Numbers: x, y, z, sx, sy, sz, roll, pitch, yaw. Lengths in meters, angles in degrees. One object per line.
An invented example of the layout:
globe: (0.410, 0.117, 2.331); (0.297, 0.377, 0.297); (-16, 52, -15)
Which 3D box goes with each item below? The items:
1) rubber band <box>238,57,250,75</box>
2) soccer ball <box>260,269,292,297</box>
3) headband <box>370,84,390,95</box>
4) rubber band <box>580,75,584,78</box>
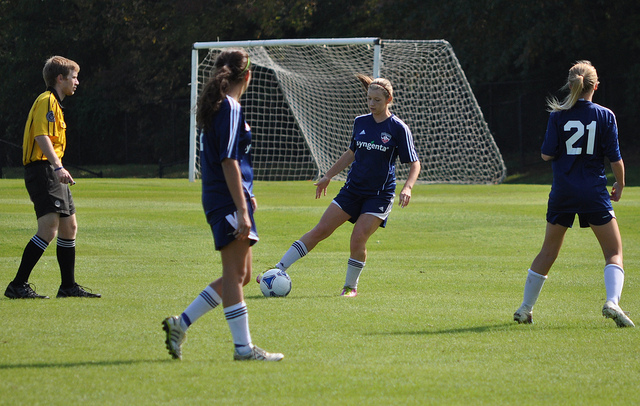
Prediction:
rubber band: (-0.944, -1.724, 11.867); (0.098, 0.188, 0.275); (4, 13, 15)
soccer ball: (-0.644, 1.186, 13.825); (0.412, 0.392, 0.390); (4, -39, 3)
headband: (0.896, -1.699, 13.967); (0.243, 0.122, 0.058); (2, 12, 5)
rubber band: (3.535, -1.707, 12.704); (0.047, 0.042, 0.010); (5, -14, -20)
